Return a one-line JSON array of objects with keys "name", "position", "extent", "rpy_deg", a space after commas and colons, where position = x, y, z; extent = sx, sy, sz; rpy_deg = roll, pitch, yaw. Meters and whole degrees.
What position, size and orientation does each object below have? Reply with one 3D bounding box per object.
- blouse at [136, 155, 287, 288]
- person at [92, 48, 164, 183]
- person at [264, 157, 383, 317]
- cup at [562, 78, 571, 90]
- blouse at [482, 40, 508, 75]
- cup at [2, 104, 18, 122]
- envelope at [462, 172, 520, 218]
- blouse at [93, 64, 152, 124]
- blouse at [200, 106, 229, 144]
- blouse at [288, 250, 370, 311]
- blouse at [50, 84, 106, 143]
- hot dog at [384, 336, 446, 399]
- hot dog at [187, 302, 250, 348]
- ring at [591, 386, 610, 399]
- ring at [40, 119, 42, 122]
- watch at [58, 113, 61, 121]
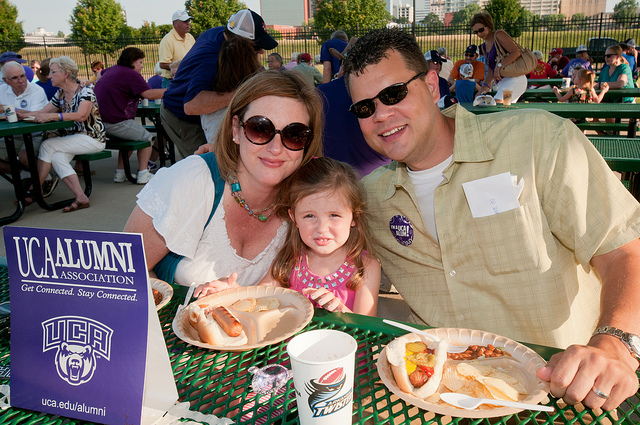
[{"name": "blouse", "position": [-0.595, 0.056, 2.374], "extent": [0.701, 0.710, 0.292], "rpy_deg": [-9, 16, -25]}, {"name": "person", "position": [-3.223, -1.619, 7.400], "extent": [1.251, 2.225, 1.006], "rpy_deg": [2, 9, -19]}, {"name": "person", "position": [0.052, 0.145, 2.695], "extent": [0.543, 1.024, 0.679], "rpy_deg": [-2, 1, -28]}, {"name": "cup", "position": [4.945, -2.571, 8.802], "extent": [0.132, 0.209, 0.339], "rpy_deg": [6, 17, 28]}, {"name": "blouse", "position": [3.224, -2.900, 8.157], "extent": [0.460, 0.485, 0.298], "rpy_deg": [21, -15, -41]}, {"name": "cup", "position": [-4.058, -1.290, 5.730], "extent": [0.114, 0.216, 0.290], "rpy_deg": [-12, 18, -35]}, {"name": "envelope", "position": [0.819, -0.079, 2.093], "extent": [0.214, 0.208, 0.050], "rpy_deg": [-20, -9, 26]}, {"name": "blouse", "position": [-3.206, -1.895, 7.053], "extent": [0.786, 0.893, 0.516], "rpy_deg": [-11, 17, -33]}, {"name": "blouse", "position": [-1.148, -0.894, 4.515], "extent": [0.397, 0.350, 0.191], "rpy_deg": [12, 20, 42]}, {"name": "blouse", "position": [0.038, 0.401, 2.525], "extent": [0.357, 0.383, 0.120], "rpy_deg": [2, -21, 12]}, {"name": "blouse", "position": [-3.561, -1.462, 6.513], "extent": [0.477, 0.838, 0.884], "rpy_deg": [-13, 18, -36]}, {"name": "hot dog", "position": [0.301, 0.478, 1.375], "extent": [0.165, 0.072, 0.243], "rpy_deg": [3, 22, 20]}, {"name": "hot dog", "position": [-0.386, 0.404, 1.607], "extent": [0.170, 0.056, 0.291], "rpy_deg": [3, 12, -38]}, {"name": "ring", "position": [0.834, 0.532, 1.303], "extent": [0.029, 0.008, 0.030], "rpy_deg": [15, 3, -1]}, {"name": "ring", "position": [-3.617, -1.180, 5.649], "extent": [0.026, 0.026, 0.008], "rpy_deg": [-13, -14, -7]}, {"name": "watch", "position": [-3.471, -1.249, 5.804], "extent": [0.035, 0.073, 0.051], "rpy_deg": [-11, 17, -31]}]
